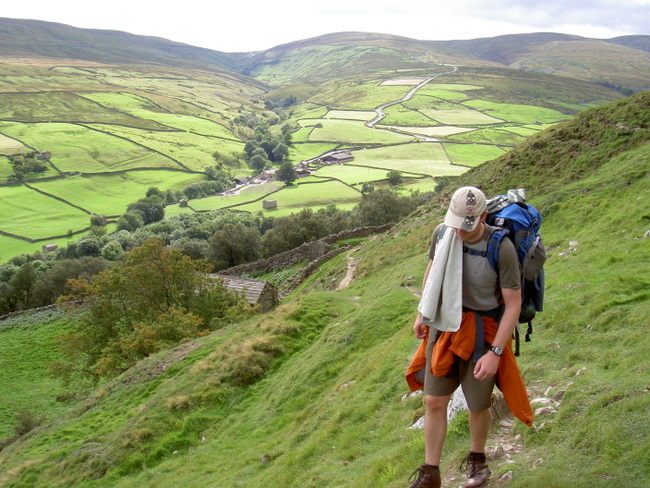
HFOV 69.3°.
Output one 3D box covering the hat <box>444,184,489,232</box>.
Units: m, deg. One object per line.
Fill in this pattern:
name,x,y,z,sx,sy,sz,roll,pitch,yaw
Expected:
hat,3.134,-0.797,10.652,0.878,0.634,1.146,18,57,27
